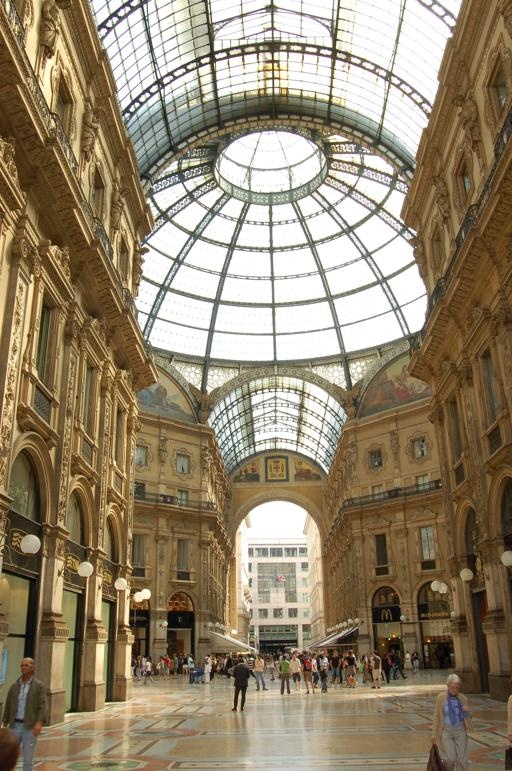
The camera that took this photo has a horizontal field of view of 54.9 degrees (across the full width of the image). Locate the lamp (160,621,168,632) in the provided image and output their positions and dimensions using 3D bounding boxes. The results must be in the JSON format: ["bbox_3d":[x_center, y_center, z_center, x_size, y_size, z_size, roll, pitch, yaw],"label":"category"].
[{"bbox_3d":[-6.093,15.665,32.138,0.448,0.536,0.492,0,-19,-3],"label":"lamp"}]

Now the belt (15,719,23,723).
[{"bbox_3d":[-2.141,2.988,4.396,0.035,0.010,0.037,-3,-17,11],"label":"belt"}]

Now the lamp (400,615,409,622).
[{"bbox_3d":[9.587,15.025,31.791,0.436,0.443,1.446,-7,-26,14],"label":"lamp"}]
